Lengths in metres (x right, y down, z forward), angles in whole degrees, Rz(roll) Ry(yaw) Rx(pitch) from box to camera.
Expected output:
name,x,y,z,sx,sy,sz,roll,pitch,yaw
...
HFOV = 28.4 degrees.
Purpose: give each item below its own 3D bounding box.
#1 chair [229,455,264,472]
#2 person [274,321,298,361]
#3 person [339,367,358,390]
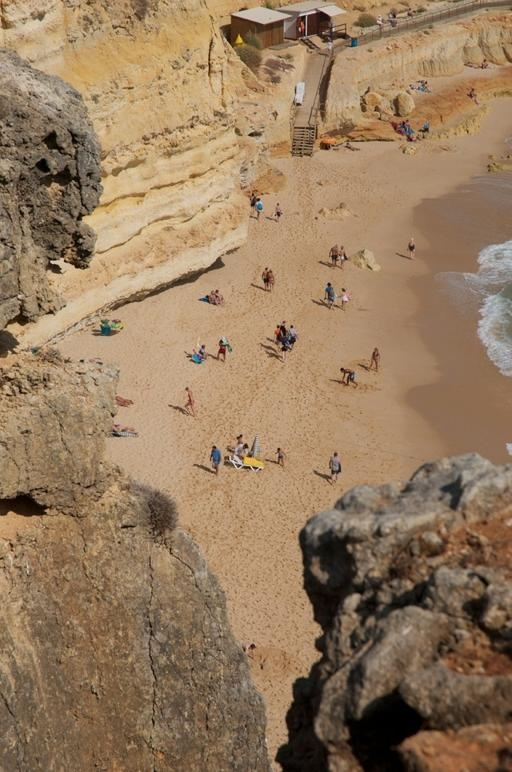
name,x,y,z,sx,sy,sz,roll,pitch,yaw
chair,-0.292,2.106,27.865,0.871,0.239,0.423,5,31,-9
person,0.953,-1.603,34.209,0.665,1.310,0.510,-2,17,3
person,3.059,-0.452,33.572,0.564,0.602,1.177,1,26,3
